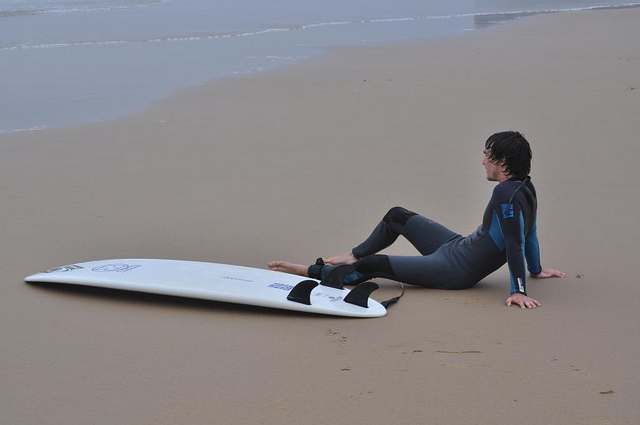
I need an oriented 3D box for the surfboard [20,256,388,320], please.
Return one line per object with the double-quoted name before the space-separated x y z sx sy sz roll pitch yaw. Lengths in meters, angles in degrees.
"surfboard" -1.004 0.689 5.883 3.129 0.260 0.644 5 4 8
